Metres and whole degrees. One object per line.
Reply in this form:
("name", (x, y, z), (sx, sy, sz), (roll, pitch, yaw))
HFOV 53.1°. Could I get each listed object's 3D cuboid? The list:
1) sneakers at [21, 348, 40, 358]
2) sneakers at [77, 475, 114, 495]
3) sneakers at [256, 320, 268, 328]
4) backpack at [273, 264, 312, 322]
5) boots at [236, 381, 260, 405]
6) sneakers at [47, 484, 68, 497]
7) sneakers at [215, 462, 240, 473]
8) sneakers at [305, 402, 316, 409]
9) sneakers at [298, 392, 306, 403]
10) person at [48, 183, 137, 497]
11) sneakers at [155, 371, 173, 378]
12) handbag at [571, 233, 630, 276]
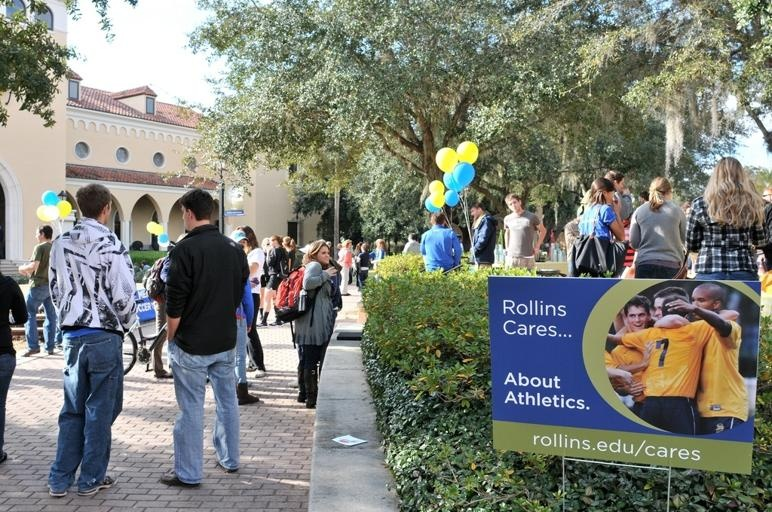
("sneakers", (-6.812, 1.711, 13.525), (0.341, 0.132, 0.111), (0, 2, -21))
("sneakers", (-3.265, 2.385, 7.944), (0.139, 0.144, 0.377), (4, 6, 27))
("sneakers", (-3.105, 1.543, 17.366), (0.307, 0.180, 0.125), (3, 0, 7))
("backpack", (-1.377, 0.515, 10.266), (0.559, 0.675, 0.266), (2, -1, 6))
("boots", (-2.109, 1.918, 10.577), (0.436, 0.286, 0.165), (-5, 5, -40))
("sneakers", (-3.689, 2.415, 7.915), (0.224, 0.117, 0.153), (3, -1, -13))
("sneakers", (-1.907, 2.320, 8.451), (0.289, 0.116, 0.104), (10, 4, 41))
("sneakers", (-1.120, 2.015, 10.349), (0.120, 0.097, 0.088), (-1, 1, 6))
("sneakers", (-1.293, 1.966, 10.651), (0.098, 0.143, 0.157), (3, -16, -10))
("person", (-3.357, 0.870, 7.996), (0.913, 3.291, 0.383), (3, -1, -15))
("sneakers", (-3.719, 1.823, 11.822), (0.305, 0.119, 0.109), (3, -4, -14))
("handbag", (2.900, 0.066, 9.733), (0.860, 0.609, 0.482), (-3, -34, 23))
